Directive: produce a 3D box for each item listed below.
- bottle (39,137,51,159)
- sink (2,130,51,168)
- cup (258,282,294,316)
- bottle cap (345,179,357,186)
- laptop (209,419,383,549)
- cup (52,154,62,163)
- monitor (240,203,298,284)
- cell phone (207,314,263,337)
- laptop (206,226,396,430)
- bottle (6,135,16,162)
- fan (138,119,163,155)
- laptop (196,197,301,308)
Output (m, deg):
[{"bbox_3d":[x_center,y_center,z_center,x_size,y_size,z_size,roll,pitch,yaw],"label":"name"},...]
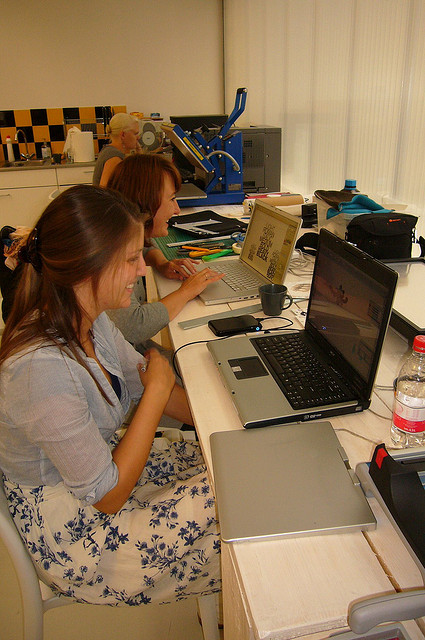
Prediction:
[{"bbox_3d":[-1.536,-1.591,4.176,0.069,0.177,0.088,-11,25,-27],"label":"bottle"},{"bbox_3d":[-1.683,-1.550,4.078,0.373,0.262,0.258,-5,30,-12],"label":"sink"},{"bbox_3d":[0.174,-0.060,1.257,0.071,0.072,0.102,-10,27,-11],"label":"cup"},{"bbox_3d":[0.609,-0.598,1.973,0.064,0.024,0.035,-16,28,-37],"label":"bottle cap"},{"bbox_3d":[0.101,0.216,0.635,0.199,0.029,0.220,-1,23,-6],"label":"laptop"},{"bbox_3d":[-1.356,-1.401,3.958,0.048,0.083,0.077,1,-2,-27],"label":"cup"},{"bbox_3d":[0.184,-0.240,1.474,0.024,0.224,0.328,7,24,-24],"label":"monitor"},{"bbox_3d":[0.055,0.009,1.152,0.087,0.018,0.065,-6,24,-7],"label":"cell phone"},{"bbox_3d":[0.150,-0.010,0.871,0.259,0.261,0.326,-6,23,-9],"label":"laptop"},{"bbox_3d":[-1.780,-1.509,3.993,0.061,0.202,0.130,-8,24,-23],"label":"bottle"},{"bbox_3d":[-0.496,-1.487,3.649,0.190,0.250,0.377,-1,22,-6],"label":"fan"},{"bbox_3d":[0.073,-0.233,1.440,0.322,0.228,0.383,-6,23,-9],"label":"laptop"}]
